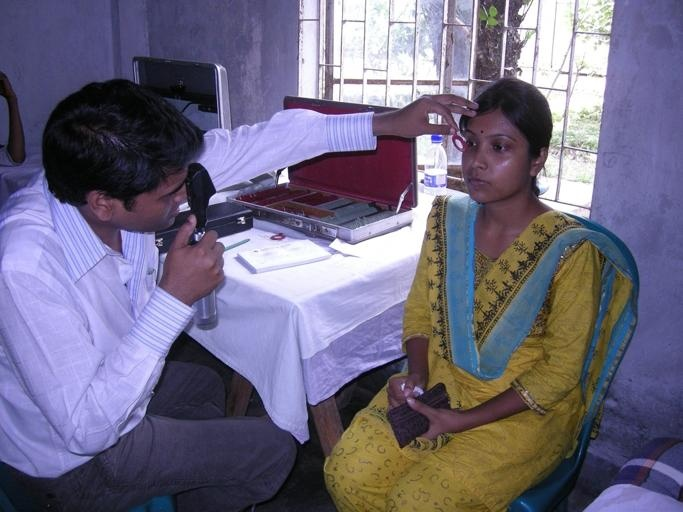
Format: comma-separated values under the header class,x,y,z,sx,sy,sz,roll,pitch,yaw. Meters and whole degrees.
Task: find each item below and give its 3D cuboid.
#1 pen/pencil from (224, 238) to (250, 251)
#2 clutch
class,x,y,z,sx,sy,sz,roll,pitch,yaw
pen/pencil,-0.396,-0.038,2.055,0.113,0.018,0.014,-23,28,-21
clutch,0.209,0.435,1.558,0.182,0.138,0.154,-10,24,-30
